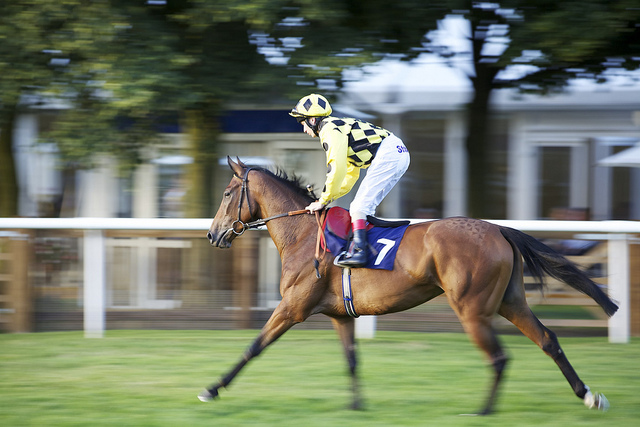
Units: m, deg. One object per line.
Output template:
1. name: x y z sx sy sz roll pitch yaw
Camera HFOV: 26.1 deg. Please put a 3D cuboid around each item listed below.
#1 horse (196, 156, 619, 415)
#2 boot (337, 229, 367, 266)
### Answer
1. horse: 1.063 0.744 13.812 6.038 2.352 1.101 1 -3 39
2. boot: 0.384 0.341 13.579 0.280 0.365 0.142 11 13 3
